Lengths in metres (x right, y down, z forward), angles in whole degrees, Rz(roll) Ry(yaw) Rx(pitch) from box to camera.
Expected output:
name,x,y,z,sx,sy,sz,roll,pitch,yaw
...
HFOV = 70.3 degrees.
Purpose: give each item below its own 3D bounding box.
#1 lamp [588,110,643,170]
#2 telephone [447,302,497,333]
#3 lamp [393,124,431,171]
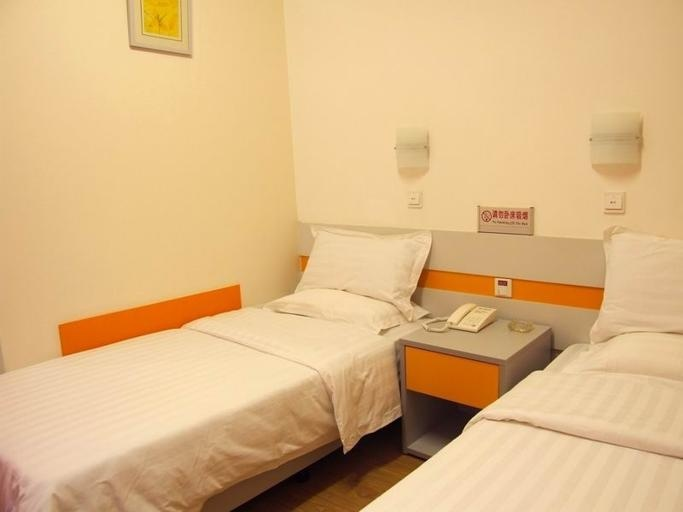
name,x,y,z,sx,sy,sz,roll,pitch,yaw
lamp,1.345,-0.555,2.421,0.239,0.260,0.229,-1,4,41
telephone,0.722,0.345,2.724,0.174,0.069,0.183,9,26,41
lamp,0.434,-0.665,3.000,0.228,0.258,0.078,2,7,26
